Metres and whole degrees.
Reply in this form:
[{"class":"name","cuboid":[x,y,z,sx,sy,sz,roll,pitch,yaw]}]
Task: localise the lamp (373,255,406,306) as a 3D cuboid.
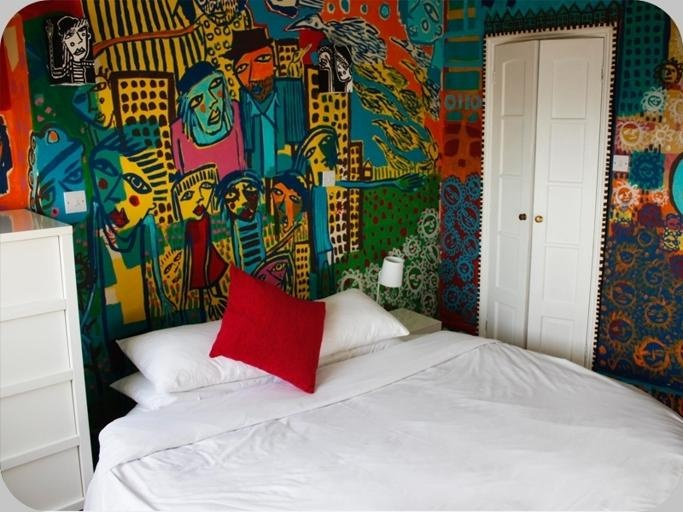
[{"class":"lamp","cuboid":[0.357,0.181,3.655,0.154,0.634,0.199,-21,34,-32]}]
